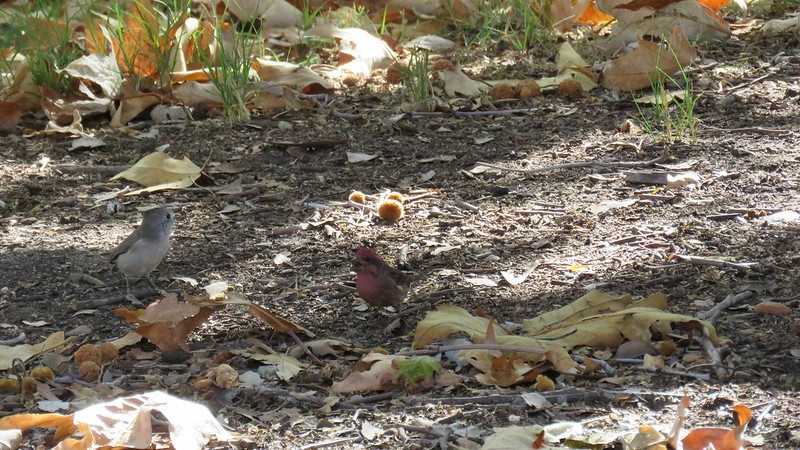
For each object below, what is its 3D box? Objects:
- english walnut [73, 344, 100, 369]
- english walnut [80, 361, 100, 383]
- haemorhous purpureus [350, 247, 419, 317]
[{"bbox_3d":[-1.994,0.832,5.052,0.184,0.134,0.127,-3,25,-13],"label":"english walnut"},{"bbox_3d":[-1.971,0.928,5.025,0.139,0.097,0.063,-5,3,-12],"label":"english walnut"},{"bbox_3d":[-0.149,0.378,5.575,0.477,0.467,0.749,4,10,21],"label":"haemorhous purpureus"}]
